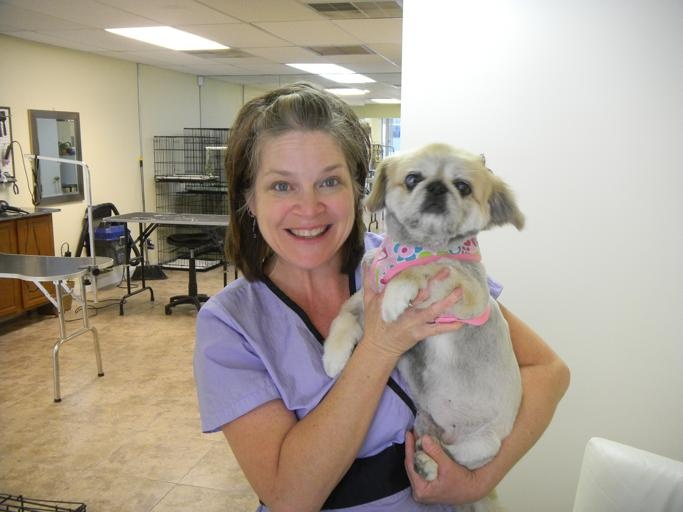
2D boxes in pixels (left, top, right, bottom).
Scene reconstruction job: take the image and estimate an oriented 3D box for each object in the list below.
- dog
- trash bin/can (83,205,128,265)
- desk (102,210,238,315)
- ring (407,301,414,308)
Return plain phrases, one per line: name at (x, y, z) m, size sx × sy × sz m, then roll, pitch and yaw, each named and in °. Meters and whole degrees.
dog at (0.278, 0.263, 1.757) m, size 0.645 × 1.248 × 0.379 m, roll 6°, pitch 14°, yaw 17°
trash bin/can at (-3.384, -0.317, 7.716) m, size 0.645 × 0.881 × 0.666 m, roll 5°, pitch 10°, yaw -4°
desk at (-2.266, 0.056, 7.770) m, size 2.122 × 1.477 × 1.109 m, roll -9°, pitch 18°, yaw -33°
ring at (0.211, 0.149, 1.641) m, size 0.013 × 0.015 × 0.015 m, roll -5°, pitch -27°, yaw 41°
